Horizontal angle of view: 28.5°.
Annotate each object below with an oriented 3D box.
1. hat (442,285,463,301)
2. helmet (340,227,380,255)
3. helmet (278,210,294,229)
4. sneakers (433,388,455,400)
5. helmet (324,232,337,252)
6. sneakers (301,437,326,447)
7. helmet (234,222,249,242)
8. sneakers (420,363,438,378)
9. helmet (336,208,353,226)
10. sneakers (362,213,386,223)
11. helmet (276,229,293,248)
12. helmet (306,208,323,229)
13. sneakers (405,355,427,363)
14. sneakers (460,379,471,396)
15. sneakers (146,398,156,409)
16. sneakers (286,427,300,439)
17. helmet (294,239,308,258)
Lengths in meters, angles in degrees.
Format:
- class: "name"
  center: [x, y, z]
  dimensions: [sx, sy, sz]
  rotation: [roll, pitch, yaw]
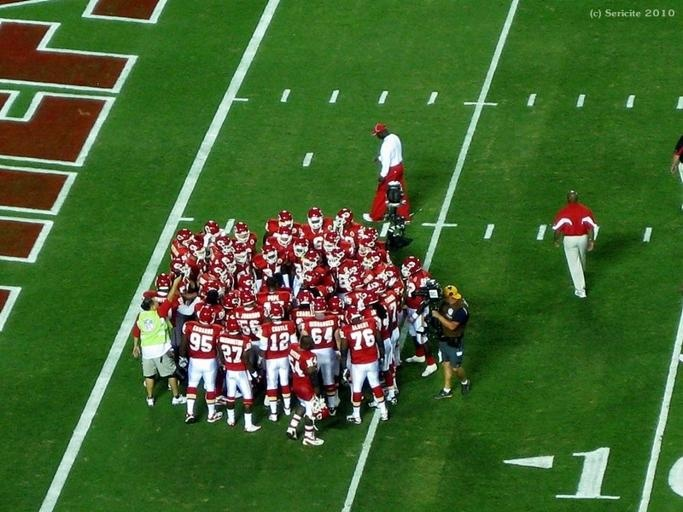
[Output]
- class: "hat"
  center: [1.670, 0.521, 20.218]
  dimensions: [0.275, 0.129, 0.196]
  rotation: [5, 21, 3]
- class: "helmet"
  center: [0.316, -0.272, 21.496]
  dimensions: [0.586, 0.216, 0.393]
  rotation: [-5, 31, 11]
- class: "helmet"
  center: [-0.894, -0.640, 22.021]
  dimensions: [0.266, 0.262, 0.319]
  rotation: [-3, 22, -16]
- class: "sneakers"
  center: [1.580, 2.098, 20.699]
  dimensions: [0.327, 0.130, 0.115]
  rotation: [-6, 22, -2]
- class: "helmet"
  center: [-0.188, -0.264, 21.245]
  dimensions: [0.229, 0.298, 0.280]
  rotation: [8, 70, -1]
- class: "sneakers"
  center: [-0.426, 2.753, 20.025]
  dimensions: [0.323, 0.130, 0.115]
  rotation: [0, 27, 3]
- class: "helmet"
  center: [-1.605, -0.426, 21.830]
  dimensions: [0.263, 0.263, 0.317]
  rotation: [-12, 46, -18]
- class: "sneakers"
  center: [1.392, 1.770, 21.161]
  dimensions: [0.355, 0.134, 0.116]
  rotation: [-33, 33, -3]
- class: "helmet"
  center: [0.025, -0.694, 22.150]
  dimensions: [0.316, 0.239, 0.215]
  rotation: [0, 6, -2]
- class: "sneakers"
  center: [0.576, -0.720, 23.918]
  dimensions: [0.339, 0.118, 0.150]
  rotation: [0, 30, -1]
- class: "helmet"
  center: [-0.937, -0.326, 21.899]
  dimensions: [0.264, 0.125, 0.292]
  rotation: [7, 82, -2]
- class: "helmet"
  center: [-0.429, -0.707, 22.094]
  dimensions: [0.291, 0.289, 0.360]
  rotation: [-1, 35, -1]
- class: "sneakers"
  center: [1.187, 1.622, 21.411]
  dimensions: [0.323, 0.121, 0.107]
  rotation: [1, 25, 6]
- class: "sneakers"
  center: [1.900, 1.979, 20.712]
  dimensions: [0.112, 0.270, 0.122]
  rotation: [6, 26, 16]
- class: "sneakers"
  center: [-2.961, 2.251, 20.817]
  dimensions: [0.091, 0.075, 0.158]
  rotation: [4, 43, -6]
- class: "sneakers"
  center: [-0.694, 2.617, 20.109]
  dimensions: [0.199, 0.170, 0.134]
  rotation: [-10, 23, -25]
- class: "helmet"
  center: [-0.651, -0.154, 21.447]
  dimensions: [0.233, 0.237, 0.293]
  rotation: [2, 16, 2]
